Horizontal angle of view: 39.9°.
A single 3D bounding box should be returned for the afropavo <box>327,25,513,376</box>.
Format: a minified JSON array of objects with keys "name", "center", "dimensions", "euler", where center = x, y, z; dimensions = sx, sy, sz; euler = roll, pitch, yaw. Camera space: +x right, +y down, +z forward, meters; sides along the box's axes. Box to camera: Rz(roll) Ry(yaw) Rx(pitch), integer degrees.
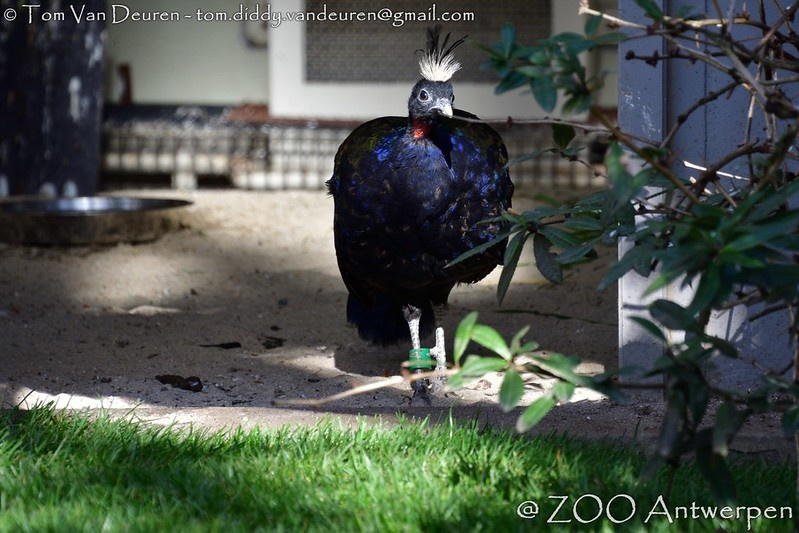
[{"name":"afropavo","center":[0.156,-0.382,7.104],"dimensions":[1.073,2.309,1.411],"euler":[-5,14,-24]}]
